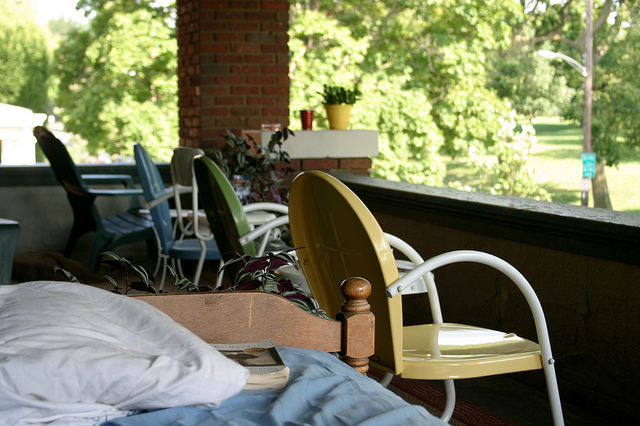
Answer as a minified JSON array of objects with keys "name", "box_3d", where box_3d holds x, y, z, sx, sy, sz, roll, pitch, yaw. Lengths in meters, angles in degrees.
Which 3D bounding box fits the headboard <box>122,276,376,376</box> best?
[{"name":"headboard","box_3d":[-0.231,0.303,1.515,0.750,0.342,0.106,2,1,15]}]

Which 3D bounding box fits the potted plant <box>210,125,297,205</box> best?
[{"name":"potted plant","box_3d":[-0.460,-0.360,3.998,0.648,0.660,0.567,-2,12,-30]}]
